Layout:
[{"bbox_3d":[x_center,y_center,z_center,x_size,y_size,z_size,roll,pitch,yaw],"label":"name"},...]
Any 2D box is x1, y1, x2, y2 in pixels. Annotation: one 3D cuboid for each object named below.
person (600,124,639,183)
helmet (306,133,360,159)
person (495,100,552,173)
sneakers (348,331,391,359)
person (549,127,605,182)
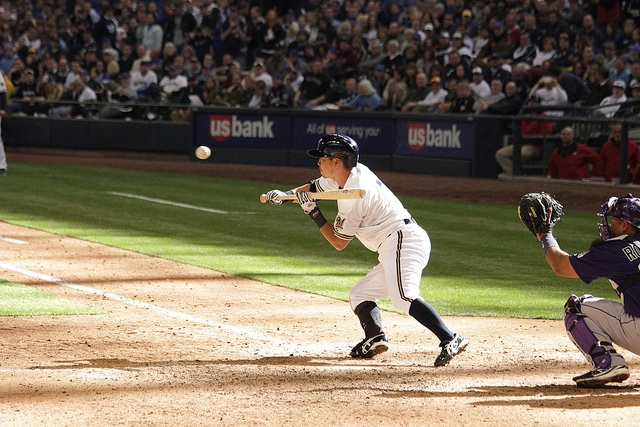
[{"bbox_3d":[6.218,-1.257,20.696,0.808,1.186,0.313,2,8,14],"label":"person"},{"bbox_3d":[0.177,-0.833,12.386,0.552,0.168,0.307,4,9,2],"label":"helmet"},{"bbox_3d":[4.573,-1.719,22.212,0.484,1.724,1.204,-4,9,-30],"label":"person"},{"bbox_3d":[0.635,1.672,12.525,0.643,0.254,0.223,-23,-39,22],"label":"sneakers"},{"bbox_3d":[5.324,-1.277,21.226,0.398,1.110,1.096,-6,9,-40],"label":"person"}]
